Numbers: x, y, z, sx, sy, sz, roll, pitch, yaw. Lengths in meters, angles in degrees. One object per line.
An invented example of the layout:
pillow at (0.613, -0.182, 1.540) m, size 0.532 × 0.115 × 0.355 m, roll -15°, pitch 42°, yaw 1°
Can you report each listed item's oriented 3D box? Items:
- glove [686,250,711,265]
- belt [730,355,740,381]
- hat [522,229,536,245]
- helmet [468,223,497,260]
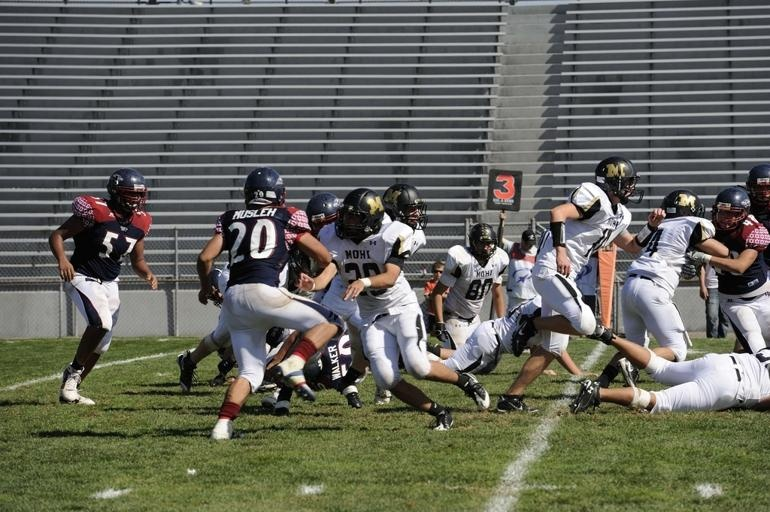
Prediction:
glove at (4.705, 0.025, 20.342) m, size 0.182 × 0.136 × 0.392 m, roll -18°, pitch 11°, yaw -18°
belt at (5.028, 1.611, 19.400) m, size 0.159 × 0.344 × 0.069 m, roll 6°, pitch 6°, yaw 34°
hat at (2.450, -0.335, 23.321) m, size 0.218 × 0.151 × 0.280 m, roll -8°, pitch 21°, yaw -17°
helmet at (1.476, -0.267, 21.554) m, size 0.465 × 0.454 × 0.573 m, roll 0°, pitch 5°, yaw -6°
